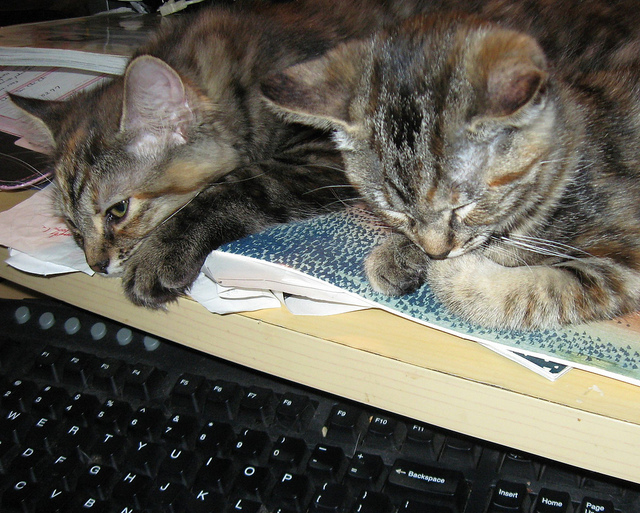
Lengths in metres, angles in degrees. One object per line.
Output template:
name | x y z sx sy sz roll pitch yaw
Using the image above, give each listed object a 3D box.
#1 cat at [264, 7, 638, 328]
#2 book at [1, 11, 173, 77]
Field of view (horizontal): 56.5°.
cat | 0.320 -0.154 1.021 0.513 0.304 0.623 13 53 31
book | -0.521 -0.476 1.341 0.406 0.069 0.319 4 24 19
